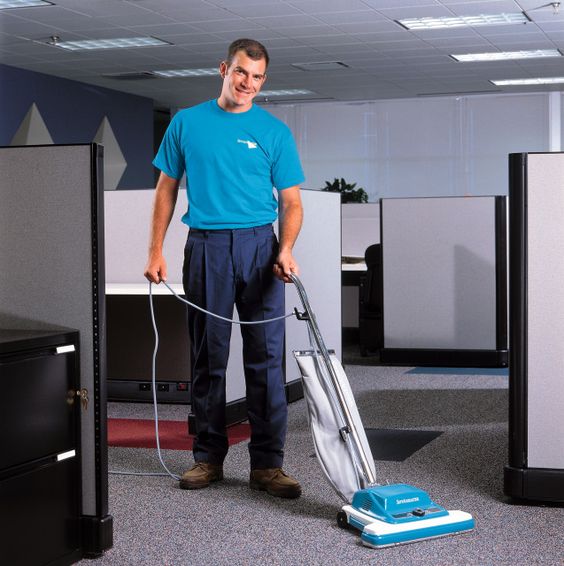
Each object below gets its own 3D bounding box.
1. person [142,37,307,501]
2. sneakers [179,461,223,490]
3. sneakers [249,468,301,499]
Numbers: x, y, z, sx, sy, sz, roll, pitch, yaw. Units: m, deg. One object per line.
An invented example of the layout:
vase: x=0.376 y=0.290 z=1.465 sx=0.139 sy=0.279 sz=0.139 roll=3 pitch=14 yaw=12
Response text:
person: x=-0.212 y=-0.074 z=2.183 sx=0.581 sy=1.734 sz=0.590 roll=0 pitch=5 yaw=1
sneakers: x=-0.289 y=0.717 z=2.197 sx=0.070 sy=0.083 sz=0.176 roll=-2 pitch=-8 yaw=31
sneakers: x=-0.029 y=0.708 z=2.100 sx=0.068 sy=0.093 sz=0.223 roll=-4 pitch=6 yaw=-39
